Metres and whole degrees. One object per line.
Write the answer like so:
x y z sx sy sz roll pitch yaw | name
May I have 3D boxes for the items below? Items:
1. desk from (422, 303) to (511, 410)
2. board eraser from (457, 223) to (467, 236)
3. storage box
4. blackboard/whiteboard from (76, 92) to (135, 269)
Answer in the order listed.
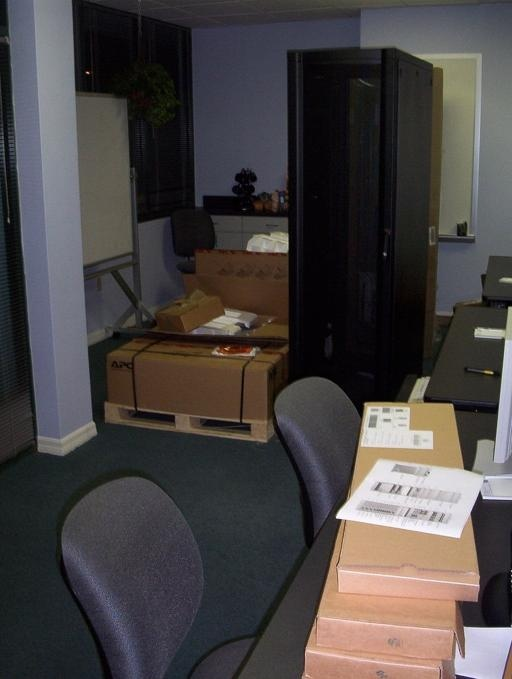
1.085 0.048 2.648 0.298 0.234 1.428 -3 8 26 | desk
2.189 -1.179 5.605 0.076 0.154 0.081 -17 23 -35 | board eraser
-0.304 -0.139 4.026 1.045 1.059 1.526 3 14 15 | storage box
-1.295 -1.378 4.588 0.232 1.422 0.738 -3 7 24 | blackboard/whiteboard
